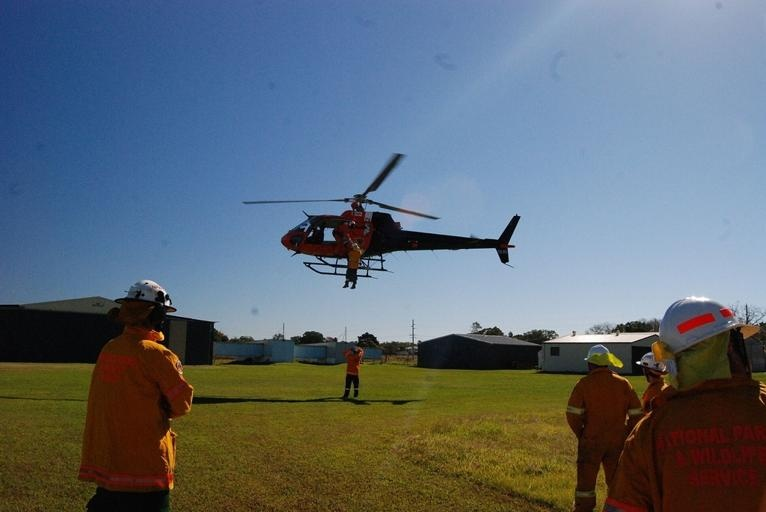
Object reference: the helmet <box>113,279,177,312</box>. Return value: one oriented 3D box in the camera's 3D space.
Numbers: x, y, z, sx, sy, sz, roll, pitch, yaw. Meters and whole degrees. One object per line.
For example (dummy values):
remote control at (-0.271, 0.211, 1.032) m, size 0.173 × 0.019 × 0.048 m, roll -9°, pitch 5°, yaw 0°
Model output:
helmet at (-2.174, 0.387, 5.240) m, size 0.536 × 0.218 × 0.535 m, roll 3°, pitch -9°, yaw 38°

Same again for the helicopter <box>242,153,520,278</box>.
helicopter at (0.109, -0.637, 19.897) m, size 5.918 × 2.044 × 4.968 m, roll 7°, pitch -12°, yaw -9°

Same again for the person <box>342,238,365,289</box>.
person at (-0.999, 0.248, 19.621) m, size 0.543 × 1.617 × 1.019 m, roll 2°, pitch -6°, yaw -1°
